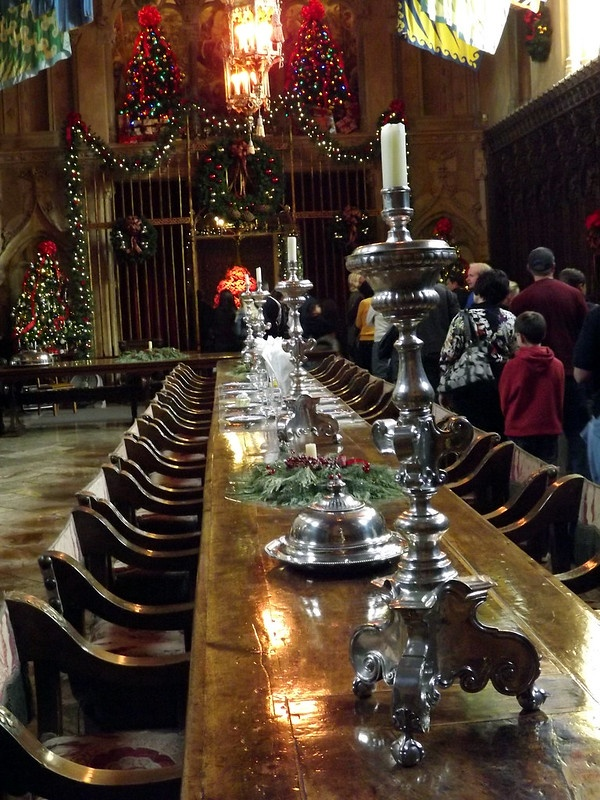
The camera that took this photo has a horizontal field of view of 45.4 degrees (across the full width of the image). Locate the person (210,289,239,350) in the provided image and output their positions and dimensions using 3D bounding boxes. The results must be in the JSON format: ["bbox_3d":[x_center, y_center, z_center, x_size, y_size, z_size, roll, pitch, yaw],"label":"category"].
[{"bbox_3d":[-1.301,-1.401,12.584,0.423,1.089,0.848,-7,6,-11],"label":"person"}]

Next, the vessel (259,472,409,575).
[{"bbox_3d":[0.089,0.282,1.691,0.337,0.187,0.327,1,7,24],"label":"vessel"}]

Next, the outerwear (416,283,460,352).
[{"bbox_3d":[1.419,-0.914,7.066,0.184,0.509,0.387,-21,5,36],"label":"outerwear"}]

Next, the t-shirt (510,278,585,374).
[{"bbox_3d":[1.907,-0.565,5.588,0.605,0.727,0.370,-3,8,1],"label":"t-shirt"}]
